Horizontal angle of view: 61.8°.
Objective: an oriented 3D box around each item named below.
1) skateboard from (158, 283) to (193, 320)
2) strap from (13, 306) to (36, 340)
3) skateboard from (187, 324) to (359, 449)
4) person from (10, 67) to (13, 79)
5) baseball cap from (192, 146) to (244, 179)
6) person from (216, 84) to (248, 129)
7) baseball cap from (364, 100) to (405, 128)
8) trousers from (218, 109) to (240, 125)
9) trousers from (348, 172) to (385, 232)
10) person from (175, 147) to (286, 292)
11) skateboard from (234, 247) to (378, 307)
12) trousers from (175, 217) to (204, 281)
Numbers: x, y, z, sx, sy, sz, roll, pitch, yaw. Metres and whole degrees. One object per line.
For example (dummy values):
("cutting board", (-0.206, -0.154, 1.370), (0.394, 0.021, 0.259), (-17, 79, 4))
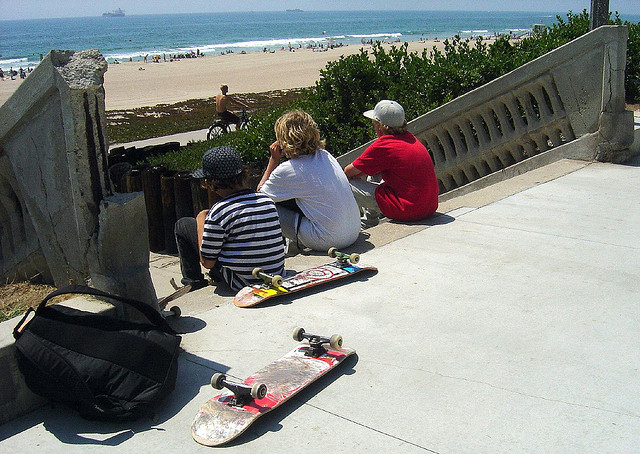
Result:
("skateboard", (-1.377, 0.663, 4.946), (0.192, 0.108, 0.646), (-35, 20, -13))
("strap", (-2.102, 0.681, 3.742), (0.089, 0.269, 0.090), (23, -9, 5))
("skateboard", (-0.380, 1.064, 3.752), (1.226, 0.328, 0.485), (-21, 22, -36))
("person", (-33.746, -16.831, 58.334), (0.238, 0.735, 1.071), (-16, 19, -25))
("baseball cap", (-0.963, -0.626, 5.052), (0.496, 0.263, 0.365), (5, 27, 28))
("person", (-2.777, -3.669, 16.655), (0.875, 1.661, 0.840), (-2, 27, -5))
("baseball cap", (0.784, -1.351, 6.415), (0.264, 0.198, 0.395), (-22, 44, -36))
("trousers", (-2.803, -3.280, 16.318), (0.502, 0.218, 0.522), (26, 14, -3))
("trousers", (0.658, -0.339, 6.985), (0.417, 0.902, 0.375), (-6, 3, 24))
("person", (-0.902, 0.010, 5.372), (1.204, 1.626, 0.874), (25, 29, 37))
("skateboard", (-0.149, 0.492, 5.045), (0.919, 0.179, 0.237), (-17, 25, -27))
("trousers", (-1.268, 0.215, 5.542), (0.354, 0.581, 0.187), (6, 21, 30))
